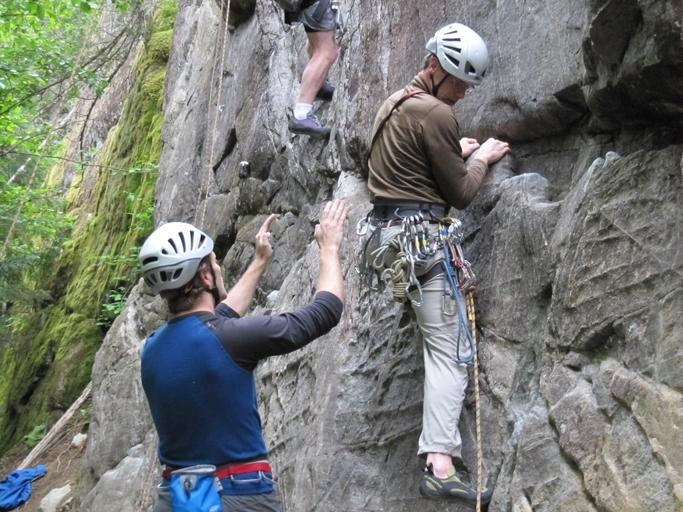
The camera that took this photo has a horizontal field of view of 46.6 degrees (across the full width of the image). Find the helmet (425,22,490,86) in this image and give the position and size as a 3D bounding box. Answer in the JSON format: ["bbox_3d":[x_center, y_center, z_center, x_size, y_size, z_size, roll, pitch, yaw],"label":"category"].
[{"bbox_3d":[0.953,-1.633,6.553,0.521,0.326,0.368,45,47,8],"label":"helmet"}]

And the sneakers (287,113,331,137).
[{"bbox_3d":[-0.331,-1.383,8.419,0.473,0.316,0.208,8,9,-3],"label":"sneakers"}]

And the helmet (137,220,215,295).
[{"bbox_3d":[-1.181,-0.049,5.929,0.355,0.501,0.553,-15,2,28],"label":"helmet"}]

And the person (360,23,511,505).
[{"bbox_3d":[0.680,-0.021,6.521,0.976,3.710,1.043,4,9,5],"label":"person"}]
